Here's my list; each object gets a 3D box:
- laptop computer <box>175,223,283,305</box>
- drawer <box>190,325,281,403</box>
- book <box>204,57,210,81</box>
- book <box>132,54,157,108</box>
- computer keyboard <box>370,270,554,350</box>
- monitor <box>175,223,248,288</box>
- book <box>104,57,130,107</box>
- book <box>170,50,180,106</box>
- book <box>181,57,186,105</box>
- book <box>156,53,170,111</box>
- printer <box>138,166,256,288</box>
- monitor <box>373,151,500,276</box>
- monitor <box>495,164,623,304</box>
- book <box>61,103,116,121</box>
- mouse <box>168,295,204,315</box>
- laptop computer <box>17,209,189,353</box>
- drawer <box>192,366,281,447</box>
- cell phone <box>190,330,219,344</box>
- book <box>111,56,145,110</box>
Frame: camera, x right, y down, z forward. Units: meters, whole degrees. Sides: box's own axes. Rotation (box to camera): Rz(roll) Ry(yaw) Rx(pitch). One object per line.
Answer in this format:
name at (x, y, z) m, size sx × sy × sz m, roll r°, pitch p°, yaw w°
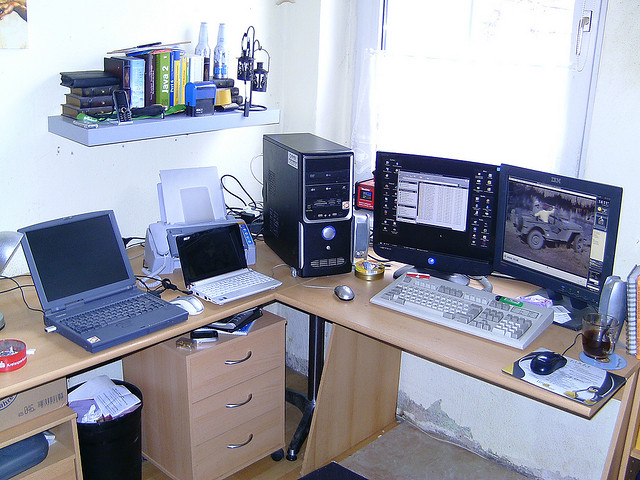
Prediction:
laptop computer at (-0.387, 0.100, 2.188) m, size 0.301 × 0.240 × 0.349 m, roll 14°, pitch 20°, yaw 40°
drawer at (-0.364, 0.547, 2.227) m, size 0.255 × 0.210 × 0.429 m, roll 19°, pitch 25°, yaw 42°
book at (-0.558, -0.845, 2.527) m, size 0.015 × 0.103 × 0.039 m, roll 17°, pitch 26°, yaw 42°
book at (-0.781, -0.714, 2.262) m, size 0.111 × 0.189 × 0.195 m, roll -6°, pitch 17°, yaw -29°
computer keyboard at (0.545, 0.269, 2.013) m, size 0.658 × 0.111 × 0.230 m, roll 10°, pitch 22°, yaw 29°
monitor at (-0.431, 0.064, 2.355) m, size 0.368 × 0.236 × 0.267 m, roll -14°, pitch 2°, yaw 21°
book at (-0.918, -0.706, 2.242) m, size 0.158 × 0.151 × 0.096 m, roll 8°, pitch 16°, yaw -11°
book at (-0.669, -0.758, 2.353) m, size 0.028 × 0.249 × 0.183 m, roll -3°, pitch 21°, yaw -19°
book at (-0.637, -0.754, 2.390) m, size 0.022 × 0.209 × 0.158 m, roll -2°, pitch 21°, yaw -18°
book at (-0.710, -0.718, 2.321) m, size 0.083 × 0.245 × 0.020 m, roll -16°, pitch 24°, yaw -37°
printer at (-0.569, -0.078, 2.276) m, size 0.534 × 0.420 × 0.292 m, roll -8°, pitch 20°, yaw -34°
monitor at (0.511, -0.105, 2.237) m, size 0.478 × 0.443 × 0.173 m, roll 11°, pitch 24°, yaw 23°
monitor at (0.932, -0.017, 2.003) m, size 0.456 × 0.459 × 0.164 m, roll 19°, pitch 26°, yaw 32°
book at (-0.986, -0.537, 2.143) m, size 0.230 × 0.058 × 0.094 m, roll -2°, pitch 19°, yaw -2°
mouse at (-0.520, 0.253, 2.033) m, size 0.114 × 0.040 × 0.064 m, roll 22°, pitch 22°, yaw 28°
laptop computer at (-0.810, 0.142, 1.930) m, size 0.472 × 0.344 × 0.543 m, roll -12°, pitch 24°, yaw -43°
drawer at (-0.384, 0.747, 2.261) m, size 0.300 × 0.135 × 0.295 m, roll -15°, pitch 19°, yaw -40°
cell phone at (-0.484, 0.410, 2.143) m, size 0.104 × 0.024 × 0.050 m, roll 2°, pitch 58°, yaw -4°
book at (-0.837, -0.684, 2.215) m, size 0.132 × 0.239 × 0.188 m, roll -7°, pitch 24°, yaw -29°
